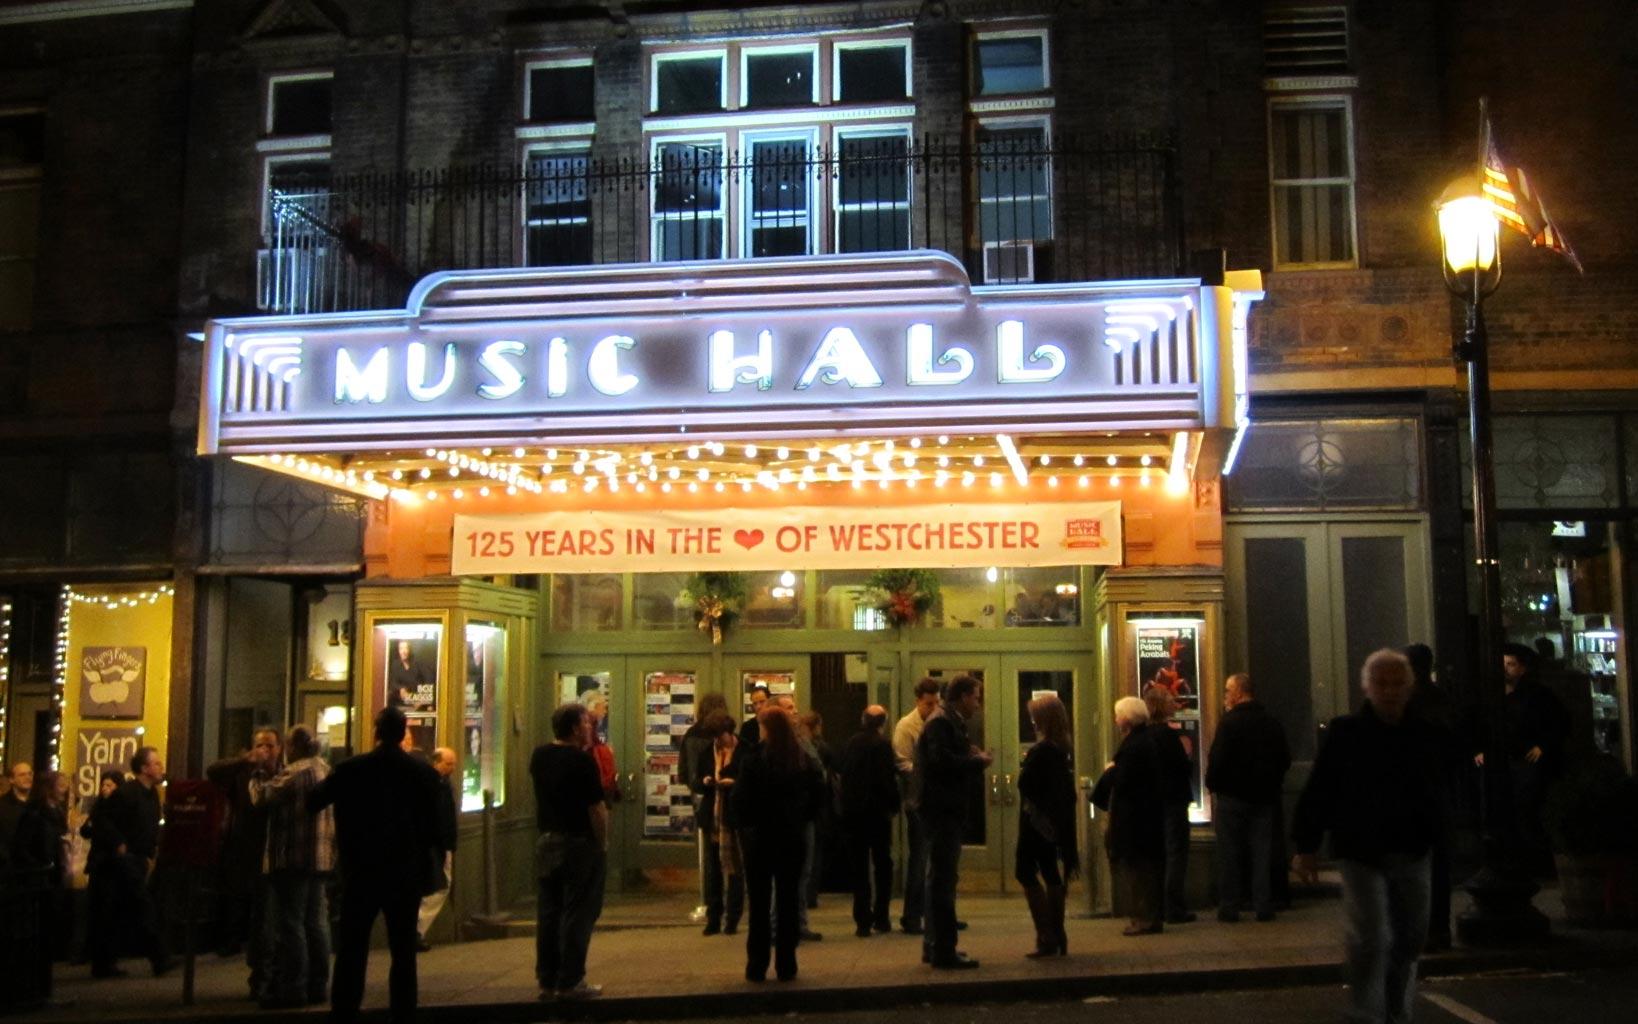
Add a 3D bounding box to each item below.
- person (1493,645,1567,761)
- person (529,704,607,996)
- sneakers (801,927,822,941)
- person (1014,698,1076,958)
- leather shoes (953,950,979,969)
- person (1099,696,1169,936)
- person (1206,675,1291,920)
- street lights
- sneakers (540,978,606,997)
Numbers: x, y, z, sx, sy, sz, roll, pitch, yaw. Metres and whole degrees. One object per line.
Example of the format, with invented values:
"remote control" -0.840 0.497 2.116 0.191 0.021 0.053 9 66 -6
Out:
"person" 8.396 2.225 22.218 0.611 1.422 2.020 -4 -8 20
"person" -2.651 3.574 20.137 0.742 3.048 0.535 -1 -7 -4
"sneakers" -0.088 4.882 21.996 0.226 0.135 0.116 -1 0 -5
"person" 2.461 3.386 20.644 0.627 2.849 0.573 -2 -7 5
"leather shoes" 1.607 4.797 20.442 0.247 0.180 0.528 -2 -7 7
"person" 3.595 3.463 21.722 0.792 2.657 0.443 -1 -7 -5
"person" 5.105 3.324 22.271 0.908 2.828 0.882 -6 -9 36
"street lights" 7.308 -1.010 20.914 0.643 5.482 0.781 -4 -8 19
"sneakers" -2.571 5.018 19.895 0.584 0.241 0.224 0 -6 -15
